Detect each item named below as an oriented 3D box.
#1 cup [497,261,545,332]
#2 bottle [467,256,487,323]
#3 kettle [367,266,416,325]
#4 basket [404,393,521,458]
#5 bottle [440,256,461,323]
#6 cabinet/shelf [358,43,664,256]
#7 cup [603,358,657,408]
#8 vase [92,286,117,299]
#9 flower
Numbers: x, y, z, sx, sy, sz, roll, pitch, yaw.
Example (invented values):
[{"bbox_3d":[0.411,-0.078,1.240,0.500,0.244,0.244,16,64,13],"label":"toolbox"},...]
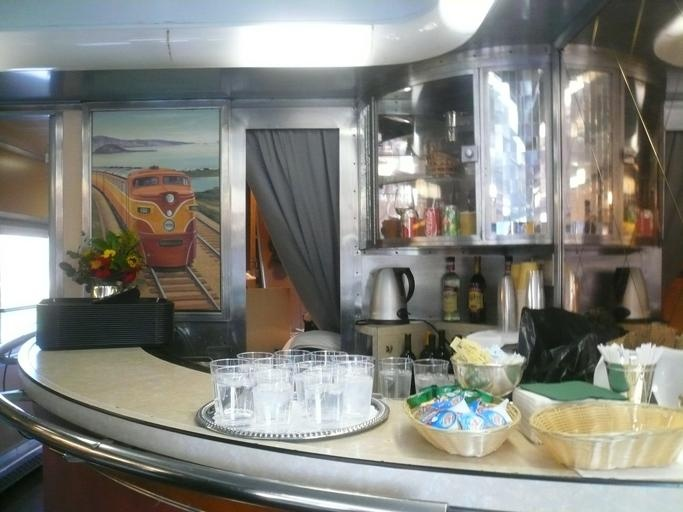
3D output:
[{"bbox_3d":[1.005,0.212,3.007,0.257,0.385,0.258,-4,3,0],"label":"cup"},{"bbox_3d":[0.846,0.202,3.384,0.110,0.401,0.193,-3,3,13],"label":"bottle"},{"bbox_3d":[0.304,0.240,3.350,0.334,0.344,0.279,1,-2,25],"label":"kettle"},{"bbox_3d":[0.353,0.398,1.451,0.190,0.078,0.201,6,10,43],"label":"basket"},{"bbox_3d":[0.702,0.207,3.470,0.119,0.410,0.166,-4,3,9],"label":"bottle"},{"bbox_3d":[0.823,-0.506,3.145,1.762,1.051,0.957,5,9,43],"label":"cabinet/shelf"},{"bbox_3d":[0.853,0.373,1.583,0.118,0.127,0.129,1,-7,0],"label":"cup"},{"bbox_3d":[-1.242,0.182,2.815,0.097,0.063,0.102,-1,-2,25],"label":"vase"},{"bbox_3d":[-1.230,0.027,2.910,0.360,0.267,0.306,21,7,24],"label":"flower"}]
